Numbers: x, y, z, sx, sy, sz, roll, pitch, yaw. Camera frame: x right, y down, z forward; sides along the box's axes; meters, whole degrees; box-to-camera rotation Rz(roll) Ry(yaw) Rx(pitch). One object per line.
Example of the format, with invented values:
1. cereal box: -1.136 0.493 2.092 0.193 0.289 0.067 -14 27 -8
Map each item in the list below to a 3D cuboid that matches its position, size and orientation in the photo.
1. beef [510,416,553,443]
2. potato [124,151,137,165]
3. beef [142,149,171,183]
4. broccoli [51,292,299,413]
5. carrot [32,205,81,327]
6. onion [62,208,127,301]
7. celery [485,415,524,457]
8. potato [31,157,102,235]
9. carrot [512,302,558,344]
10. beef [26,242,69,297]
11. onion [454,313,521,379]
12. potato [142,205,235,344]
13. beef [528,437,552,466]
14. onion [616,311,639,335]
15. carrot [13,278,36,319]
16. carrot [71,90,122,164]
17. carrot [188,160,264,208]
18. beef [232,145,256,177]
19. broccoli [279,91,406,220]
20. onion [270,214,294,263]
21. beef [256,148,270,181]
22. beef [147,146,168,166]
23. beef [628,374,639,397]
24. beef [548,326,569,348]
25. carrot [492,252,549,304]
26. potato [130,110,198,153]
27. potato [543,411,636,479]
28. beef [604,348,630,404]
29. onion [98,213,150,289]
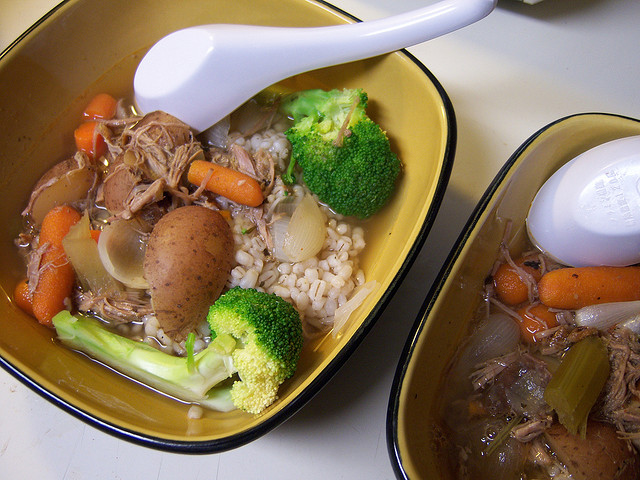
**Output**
1. beef: 0.505 0.444 1.357 0.112 0.044 0.047 -24 90 3
2. potato: -0.505 -0.216 1.527 0.027 0.023 0.037 2 91 -6
3. beef: -0.438 -0.193 1.541 0.055 0.024 0.096 -34 79 -6
4. broccoli: -0.372 0.262 1.503 0.621 0.378 0.302 2 85 8
5. carrot: -0.697 0.072 1.520 0.125 0.268 0.089 -24 48 -29
6. onion: -0.571 0.061 1.568 0.120 0.194 0.200 -21 41 -32
7. celery: 0.444 0.471 1.370 0.024 0.011 0.110 38 80 9
8. potato: -0.724 -0.133 1.632 0.207 0.069 0.172 -49 121 -18
9. carrot: 0.551 0.206 1.451 0.081 0.055 0.109 -2 83 8
10. beef: -0.715 0.073 1.510 0.118 0.049 0.128 -16 79 4
11. onion: 0.429 0.270 1.480 0.101 0.054 0.194 42 79 10
12. potato: -0.345 0.078 1.507 0.180 0.147 0.339 19 79 -14
13. beef: 0.533 0.504 1.414 0.060 0.120 0.035 3 77 16
14. onion: 0.749 0.199 1.390 0.046 0.018 0.050 9 82 8
15. carrot: -0.771 0.150 1.498 0.067 0.049 0.097 -6 75 0
16. carrot: -0.632 -0.335 1.675 0.128 0.082 0.208 23 81 8
17. carrot: -0.253 -0.156 1.573 0.219 0.082 0.085 21 46 8
18. beef: -0.207 -0.219 1.577 0.029 0.026 0.114 -27 83 8
19. broccoli: 0.072 -0.224 1.501 0.260 0.136 0.375 -22 80 11
20. onion: -0.108 -0.005 1.557 0.074 0.026 0.109 23 96 35
21. beef: -0.152 -0.209 1.597 0.021 0.024 0.099 -5 75 -3
22. beef: -0.443 -0.235 1.569 0.036 0.014 0.062 -37 93 15
23. beef: 0.741 0.342 1.355 0.027 0.012 0.044 1 88 -1
24. beef: 0.590 0.241 1.419 0.052 0.015 0.035 -44 60 2
25. carrot: 0.512 0.096 1.484 0.147 0.087 0.086 -32 41 -9
26. potato: -0.424 -0.308 1.570 0.100 0.119 0.166 21 38 33
27. potato: 0.632 0.479 1.350 0.144 0.083 0.151 -28 80 -14
28. beef: 0.710 0.321 1.358 0.033 0.032 0.140 23 88 22
29. onion: -0.522 0.033 1.523 0.156 0.056 0.190 -1 88 -10
